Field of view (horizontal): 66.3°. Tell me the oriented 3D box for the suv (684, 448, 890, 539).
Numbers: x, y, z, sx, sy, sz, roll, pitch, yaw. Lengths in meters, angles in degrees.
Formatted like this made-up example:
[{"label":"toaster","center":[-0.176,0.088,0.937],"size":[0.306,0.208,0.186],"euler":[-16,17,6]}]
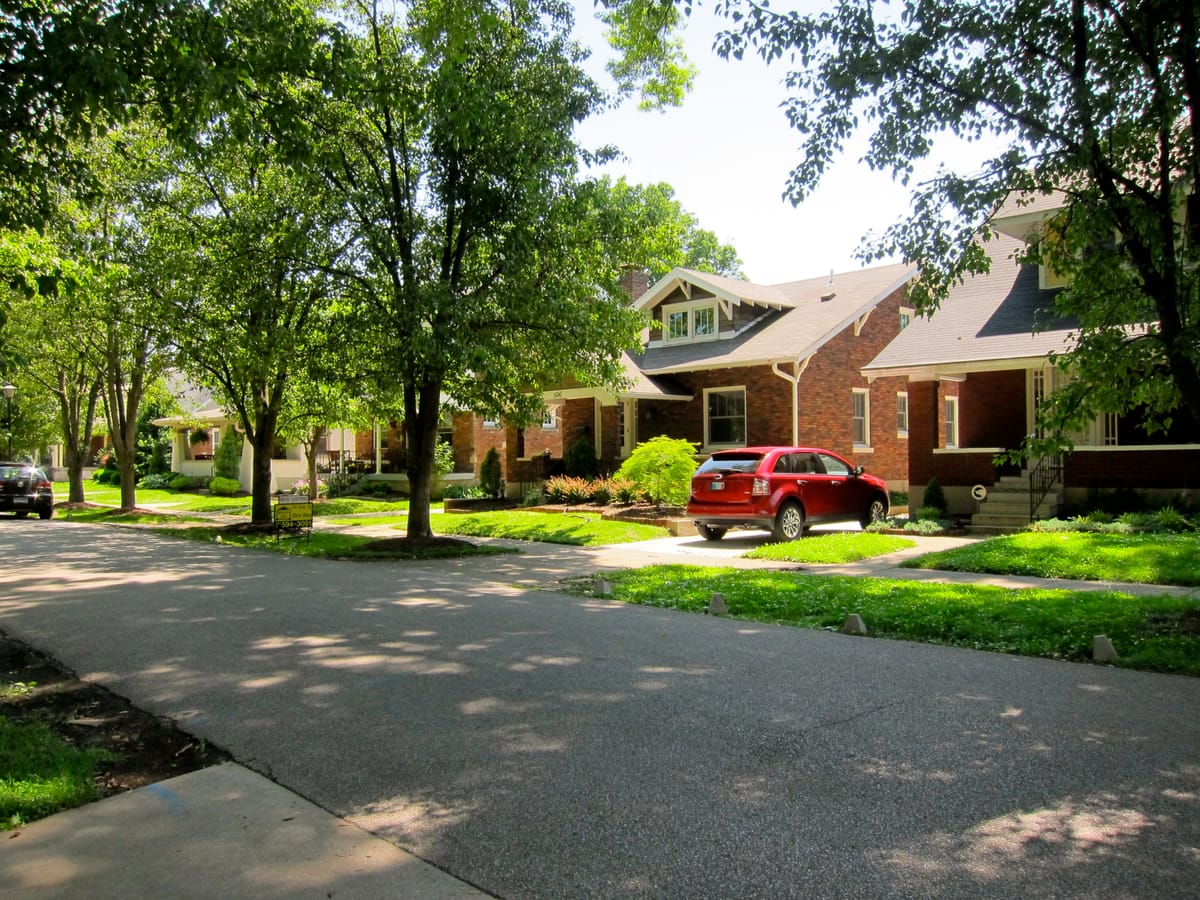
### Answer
[{"label":"suv","center":[3.975,0.849,19.578],"size":[3.665,1.351,1.959],"euler":[-3,1,-41]}]
